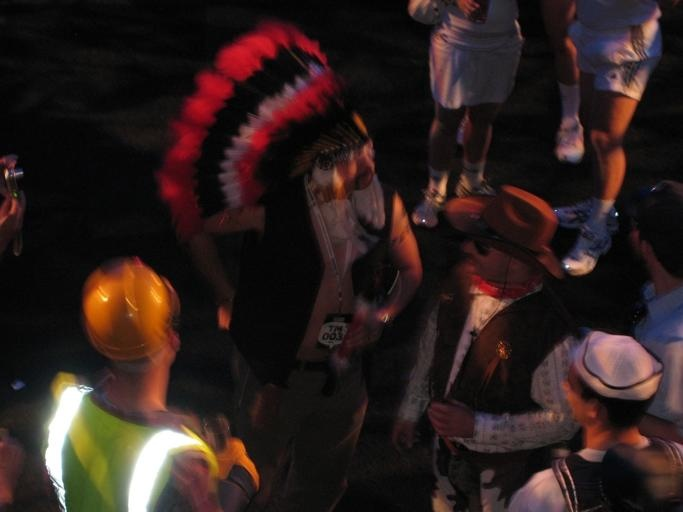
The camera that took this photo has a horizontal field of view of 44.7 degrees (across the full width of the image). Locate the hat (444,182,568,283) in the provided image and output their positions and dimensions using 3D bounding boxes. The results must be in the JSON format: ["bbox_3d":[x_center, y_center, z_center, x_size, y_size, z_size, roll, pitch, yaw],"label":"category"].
[{"bbox_3d":[0.815,-0.165,4.058,0.753,0.266,0.643,26,7,11],"label":"hat"}]

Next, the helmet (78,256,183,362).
[{"bbox_3d":[-0.889,0.165,3.333,0.442,0.307,0.404,9,17,-15],"label":"helmet"}]

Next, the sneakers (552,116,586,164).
[{"bbox_3d":[1.200,-0.579,4.342,0.154,0.089,0.246,-5,42,28],"label":"sneakers"}]

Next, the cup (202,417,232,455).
[{"bbox_3d":[-0.542,0.786,3.661,0.132,0.127,0.183,-1,69,-24],"label":"cup"}]

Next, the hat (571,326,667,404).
[{"bbox_3d":[1.082,0.400,3.234,0.343,0.120,0.352,-29,42,-27],"label":"hat"}]
